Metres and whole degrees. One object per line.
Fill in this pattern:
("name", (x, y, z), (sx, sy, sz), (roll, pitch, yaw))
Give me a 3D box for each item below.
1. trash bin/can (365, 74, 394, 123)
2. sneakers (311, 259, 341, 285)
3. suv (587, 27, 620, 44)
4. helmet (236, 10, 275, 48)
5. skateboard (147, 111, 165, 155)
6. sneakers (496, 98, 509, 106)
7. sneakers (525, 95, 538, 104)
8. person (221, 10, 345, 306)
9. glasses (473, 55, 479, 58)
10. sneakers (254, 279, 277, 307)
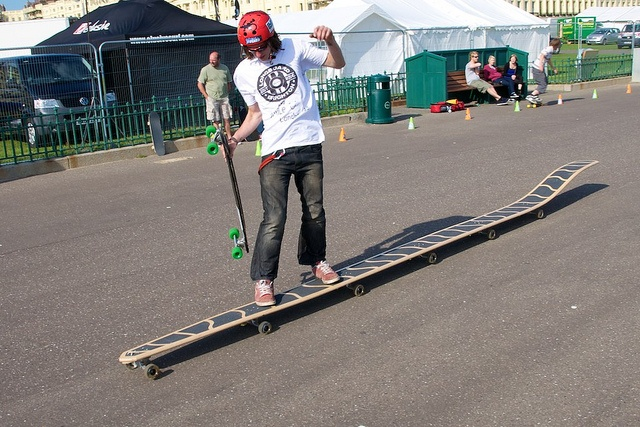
("trash bin/can", (1.712, -3.331, 16.722), (0.780, 1.353, 0.499), (-2, 17, 9))
("sneakers", (0.042, 0.568, 5.865), (0.128, 0.165, 0.380), (-26, 26, -24))
("suv", (25.945, -16.193, 52.214), (2.567, 1.487, 1.848), (-2, 18, 10))
("helmet", (-0.588, -1.724, 5.415), (0.263, 0.294, 0.365), (-15, 5, 19))
("skateboard", (-3.997, -1.959, 13.944), (0.292, 1.058, 0.350), (-8, 17, -14))
("sneakers", (6.251, -3.805, 19.366), (0.500, 0.227, 0.213), (-8, 6, -35))
("sneakers", (6.841, -3.666, 18.296), (0.440, 0.216, 0.169), (14, 35, 26))
("person", (-0.314, -0.562, 5.476), (1.090, 2.638, 0.794), (-7, 16, -10))
("glasses", (5.311, -5.367, 19.431), (0.199, 0.125, 0.160), (-3, 14, -20))
("sneakers", (-0.533, 0.744, 5.448), (0.201, 0.211, 0.241), (-6, 18, -5))
